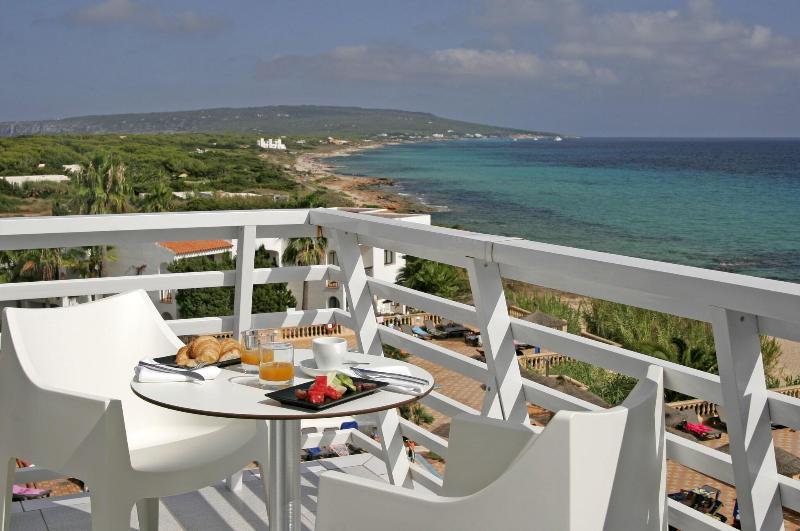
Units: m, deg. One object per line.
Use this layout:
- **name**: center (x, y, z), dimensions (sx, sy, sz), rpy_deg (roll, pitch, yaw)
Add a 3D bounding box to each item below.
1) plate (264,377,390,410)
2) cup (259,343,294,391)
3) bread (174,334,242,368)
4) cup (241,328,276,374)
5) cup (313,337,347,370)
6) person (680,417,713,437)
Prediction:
- **plate**: center (-0.210, 0.356, 1.513), dimensions (0.113, 0.018, 0.176), rpy_deg (5, 8, 41)
- **cup**: center (-0.385, 0.305, 1.672), dimensions (0.117, 0.111, 0.114), rpy_deg (-1, -3, 0)
- **bread**: center (-0.659, 0.277, 1.848), dimensions (0.150, 0.049, 0.122), rpy_deg (1, 2, -40)
- **cup**: center (-0.475, 0.271, 1.738), dimensions (0.138, 0.131, 0.146), rpy_deg (1, -1, 0)
- **cup**: center (-0.225, 0.270, 1.737), dimensions (0.104, 0.080, 0.110), rpy_deg (-2, 2, 0)
- **person**: center (8.393, 4.524, 15.150), dimensions (1.035, 0.252, 0.592), rpy_deg (9, -2, 6)
